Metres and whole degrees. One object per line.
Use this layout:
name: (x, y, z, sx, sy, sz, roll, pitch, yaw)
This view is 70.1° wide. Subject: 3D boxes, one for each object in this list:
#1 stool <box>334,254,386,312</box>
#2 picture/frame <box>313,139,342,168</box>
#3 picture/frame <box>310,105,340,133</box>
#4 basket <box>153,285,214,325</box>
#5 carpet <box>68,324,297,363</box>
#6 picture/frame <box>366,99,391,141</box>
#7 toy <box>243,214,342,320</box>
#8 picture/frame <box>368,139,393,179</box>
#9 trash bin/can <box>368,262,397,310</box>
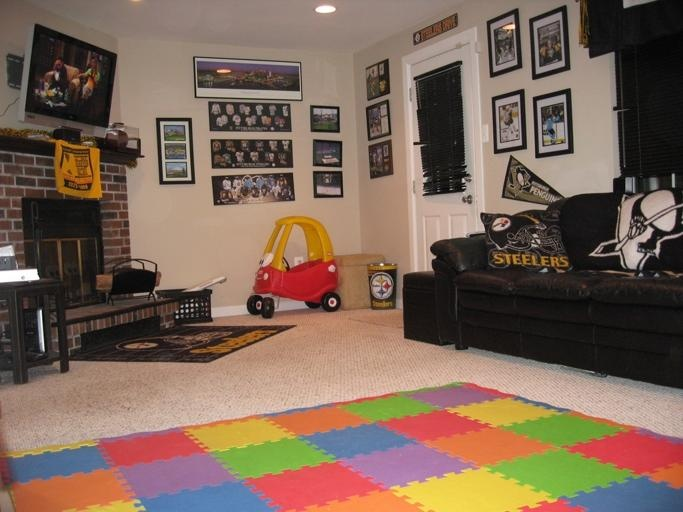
stool: (0.146, 0.299, 6.170, 0.529, 0.733, 0.723, 1, -2, -32)
picture/frame: (-0.203, -1.337, 6.329, 0.393, 0.342, 0.029, 0, 1, -28)
picture/frame: (-0.235, -1.781, 6.297, 0.383, 0.305, 0.016, -1, 9, -30)
basket: (-1.688, 0.541, 5.252, 0.549, 0.368, 0.255, -3, 2, -22)
carpet: (-1.366, 0.752, 4.413, 1.368, 0.027, 1.546, -1, 3, 18)
picture/frame: (0.477, -1.710, 6.103, 0.041, 0.583, 0.558, -3, 5, -36)
toy: (-0.522, 0.102, 5.690, 1.063, 1.137, 0.699, -3, 2, -28)
picture/frame: (0.503, -1.220, 6.112, 0.036, 0.531, 0.512, -3, 5, -29)
trash bin/can: (0.498, 0.356, 5.849, 0.358, 0.532, 0.304, -2, 2, 5)
